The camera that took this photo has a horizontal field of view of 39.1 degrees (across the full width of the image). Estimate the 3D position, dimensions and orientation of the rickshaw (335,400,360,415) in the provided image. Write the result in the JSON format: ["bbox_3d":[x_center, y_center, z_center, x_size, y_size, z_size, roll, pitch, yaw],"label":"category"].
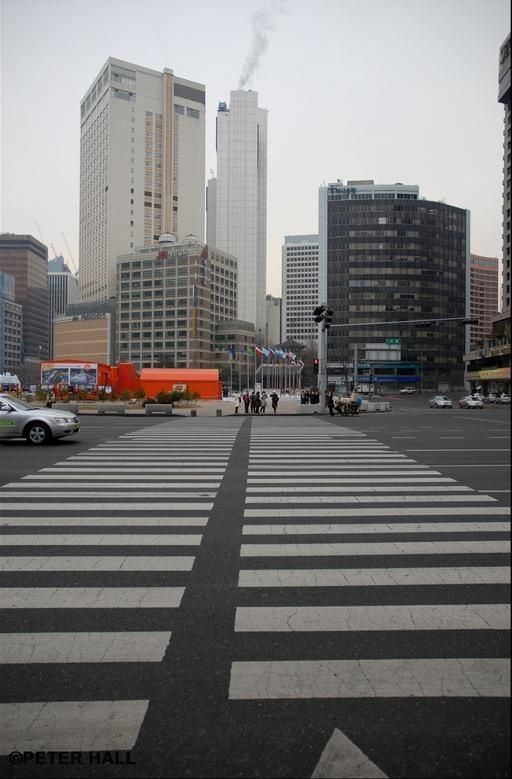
[{"bbox_3d":[4.673,0.883,36.917,1.117,0.692,0.953,0,1,14],"label":"rickshaw"}]
